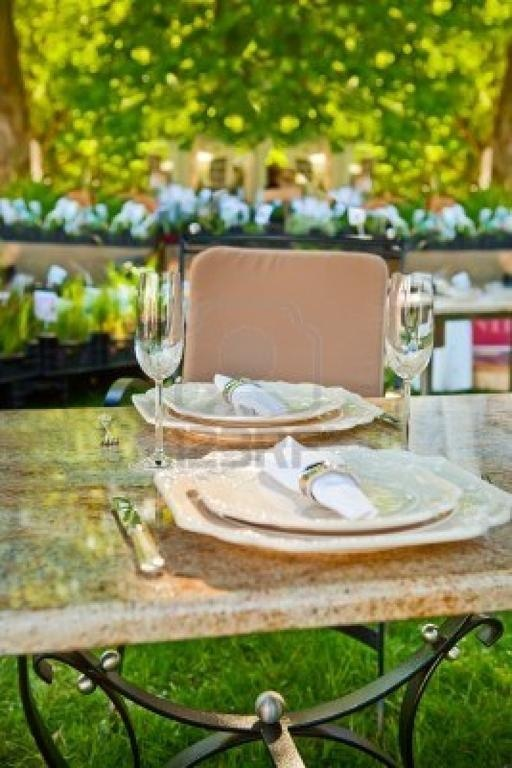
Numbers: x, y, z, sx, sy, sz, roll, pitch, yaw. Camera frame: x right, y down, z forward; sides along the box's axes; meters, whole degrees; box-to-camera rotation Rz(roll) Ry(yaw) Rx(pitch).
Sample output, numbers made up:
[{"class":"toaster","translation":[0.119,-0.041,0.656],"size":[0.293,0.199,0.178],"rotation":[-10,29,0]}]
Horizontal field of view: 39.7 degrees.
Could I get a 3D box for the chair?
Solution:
[{"class":"chair","translation":[0.064,-0.124,1.715],"size":[0.357,0.556,0.366],"rotation":[2,-2,-1]}]
